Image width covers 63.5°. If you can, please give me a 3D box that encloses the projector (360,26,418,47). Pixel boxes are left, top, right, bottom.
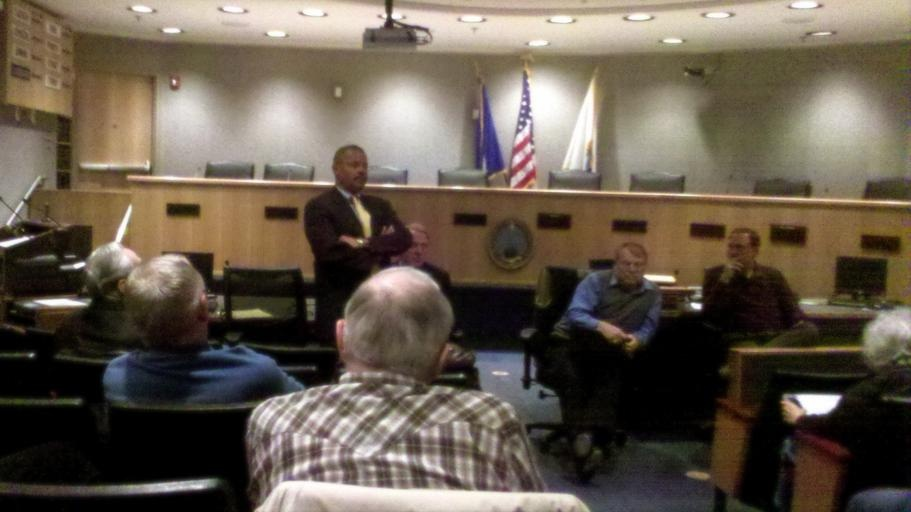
[{"bbox_3d":[-0.537,-1.831,6.215,0.372,0.125,0.338,1,10,1],"label":"projector"}]

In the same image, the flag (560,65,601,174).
[{"bbox_3d":[1.485,-1.498,8.254,0.253,1.118,0.648,2,5,-9],"label":"flag"}]

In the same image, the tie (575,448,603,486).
[{"bbox_3d":[0.757,1.220,4.261,0.133,0.187,0.208,6,-26,4],"label":"tie"}]

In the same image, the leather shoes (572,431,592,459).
[{"bbox_3d":[0.726,1.086,4.211,0.116,0.121,0.089,1,-11,13],"label":"leather shoes"}]

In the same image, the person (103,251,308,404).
[{"bbox_3d":[-1.253,0.369,3.469,1.063,0.677,0.591,1,8,11],"label":"person"}]

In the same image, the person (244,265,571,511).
[{"bbox_3d":[-0.219,0.513,2.830,1.139,0.892,0.261,3,5,7],"label":"person"}]

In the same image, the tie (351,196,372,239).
[{"bbox_3d":[-0.595,-0.254,4.751,0.092,0.350,0.085,-40,-37,28],"label":"tie"}]

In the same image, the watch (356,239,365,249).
[{"bbox_3d":[-0.579,-0.070,4.559,0.057,0.053,0.031,1,5,-17],"label":"watch"}]

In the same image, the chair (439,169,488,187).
[{"bbox_3d":[0.083,-0.695,6.667,0.423,0.146,0.203,1,5,-15],"label":"chair"}]

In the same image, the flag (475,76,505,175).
[{"bbox_3d":[0.425,-1.457,8.589,0.325,1.112,0.729,3,5,3],"label":"flag"}]

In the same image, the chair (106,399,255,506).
[{"bbox_3d":[-1.134,0.763,3.052,0.537,0.413,0.404,1,0,-5],"label":"chair"}]

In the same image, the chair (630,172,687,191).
[{"bbox_3d":[1.648,-0.578,5.840,0.317,0.163,0.648,1,4,-14],"label":"chair"}]

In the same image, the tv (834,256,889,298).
[{"bbox_3d":[2.608,0.137,4.721,0.389,0.242,0.091,1,5,-11],"label":"tv"}]

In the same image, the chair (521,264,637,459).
[{"bbox_3d":[0.726,0.622,4.425,0.685,1.044,0.605,4,7,2],"label":"chair"}]

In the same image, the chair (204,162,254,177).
[{"bbox_3d":[-2.013,-0.754,6.533,0.401,0.151,0.330,2,4,-1],"label":"chair"}]

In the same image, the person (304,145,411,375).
[{"bbox_3d":[-0.627,0.223,4.908,0.676,1.793,0.609,-6,17,-18],"label":"person"}]
